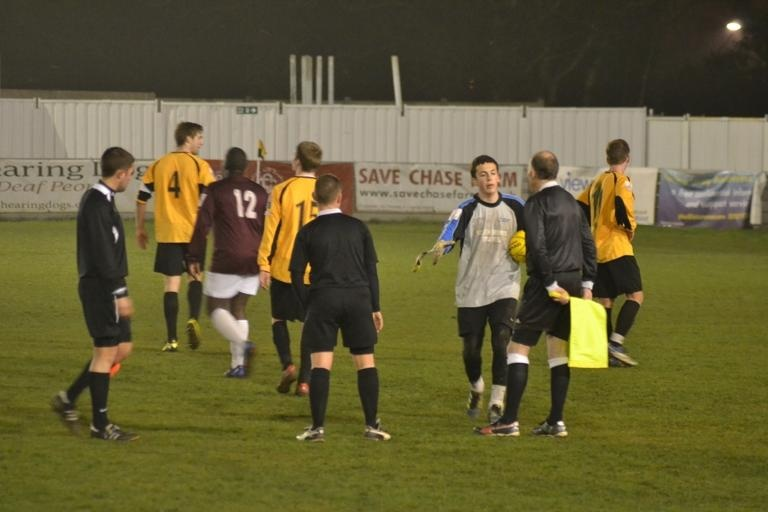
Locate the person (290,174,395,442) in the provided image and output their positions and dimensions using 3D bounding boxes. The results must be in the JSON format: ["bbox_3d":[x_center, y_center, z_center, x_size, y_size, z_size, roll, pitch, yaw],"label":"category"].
[{"bbox_3d":[-0.600,0.690,16.803,1.218,3.538,0.622,0,9,-3],"label":"person"}]

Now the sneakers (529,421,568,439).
[{"bbox_3d":[2.254,2.371,17.149,0.511,0.219,0.195,3,0,6],"label":"sneakers"}]

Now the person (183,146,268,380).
[{"bbox_3d":[-2.211,0.087,18.362,1.098,3.305,1.036,-1,9,-8],"label":"person"}]

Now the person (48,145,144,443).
[{"bbox_3d":[-3.782,0.499,16.742,0.956,3.858,0.756,-2,9,-11],"label":"person"}]

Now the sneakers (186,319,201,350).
[{"bbox_3d":[-2.860,1.165,18.921,0.194,0.503,0.223,-5,10,20],"label":"sneakers"}]

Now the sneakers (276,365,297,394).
[{"bbox_3d":[-1.359,1.728,17.942,0.196,0.504,0.231,6,37,-37],"label":"sneakers"}]

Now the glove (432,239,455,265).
[{"bbox_3d":[0.770,-0.079,17.340,0.281,0.340,0.389,-7,11,-38],"label":"glove"}]

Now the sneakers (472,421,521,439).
[{"bbox_3d":[1.538,2.350,17.004,0.624,0.233,0.219,1,-6,3],"label":"sneakers"}]

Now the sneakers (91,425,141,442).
[{"bbox_3d":[-3.583,2.371,16.873,0.638,0.231,0.235,1,-3,0],"label":"sneakers"}]

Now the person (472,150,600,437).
[{"bbox_3d":[2.184,0.500,17.107,1.507,3.834,0.828,-1,9,-10],"label":"person"}]

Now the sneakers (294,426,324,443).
[{"bbox_3d":[-0.960,2.393,16.786,0.417,0.169,0.161,0,2,11],"label":"sneakers"}]

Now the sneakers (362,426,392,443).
[{"bbox_3d":[-0.081,2.383,16.948,0.458,0.208,0.146,3,-1,-5],"label":"sneakers"}]

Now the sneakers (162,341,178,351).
[{"bbox_3d":[-3.230,1.372,19.240,0.238,0.141,0.123,0,1,31],"label":"sneakers"}]
